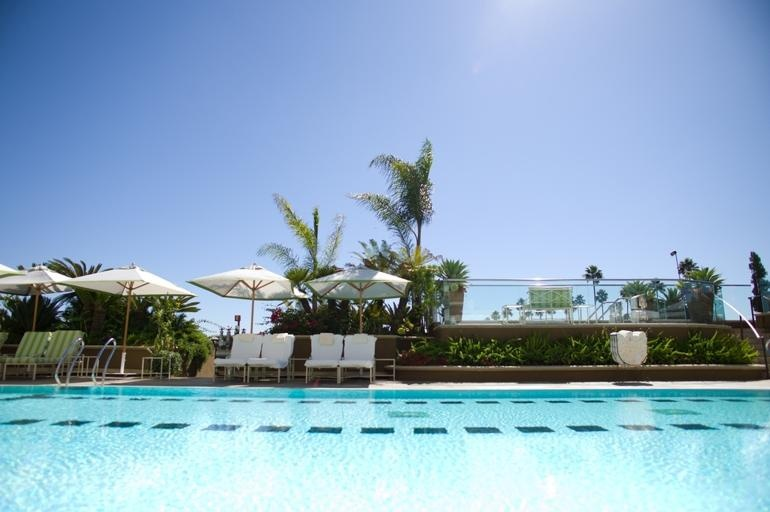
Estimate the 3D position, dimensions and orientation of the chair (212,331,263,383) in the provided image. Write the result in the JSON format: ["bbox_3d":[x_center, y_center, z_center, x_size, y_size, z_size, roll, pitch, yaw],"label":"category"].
[{"bbox_3d":[-4.052,2.847,13.429,0.813,1.023,1.066,1,-1,-7],"label":"chair"}]

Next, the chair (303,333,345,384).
[{"bbox_3d":[-1.720,2.863,13.222,1.189,1.346,1.460,2,-11,-13],"label":"chair"}]

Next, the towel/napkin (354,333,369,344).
[{"bbox_3d":[-0.670,2.393,13.624,0.273,0.273,0.066,-2,0,-2],"label":"towel/napkin"}]

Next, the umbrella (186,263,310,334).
[{"bbox_3d":[-4.372,1.366,15.070,2.691,2.134,2.718,-11,-16,42],"label":"umbrella"}]

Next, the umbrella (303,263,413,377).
[{"bbox_3d":[-0.887,2.261,15.686,2.623,2.557,2.887,-8,-15,21],"label":"umbrella"}]

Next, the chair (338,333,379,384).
[{"bbox_3d":[-0.783,2.856,13.115,0.964,1.344,1.369,1,-11,1],"label":"chair"}]

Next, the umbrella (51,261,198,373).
[{"bbox_3d":[-8.222,1.916,14.950,3.118,2.920,2.978,5,-3,-14],"label":"umbrella"}]

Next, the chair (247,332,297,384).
[{"bbox_3d":[-3.250,2.876,13.413,0.932,1.221,1.480,1,-6,4],"label":"chair"}]

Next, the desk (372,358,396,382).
[{"bbox_3d":[-0.012,3.530,14.690,0.915,0.886,0.688,1,-25,1],"label":"desk"}]

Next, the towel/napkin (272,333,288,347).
[{"bbox_3d":[-3.086,2.476,13.782,0.545,0.549,0.200,0,16,-5],"label":"towel/napkin"}]
